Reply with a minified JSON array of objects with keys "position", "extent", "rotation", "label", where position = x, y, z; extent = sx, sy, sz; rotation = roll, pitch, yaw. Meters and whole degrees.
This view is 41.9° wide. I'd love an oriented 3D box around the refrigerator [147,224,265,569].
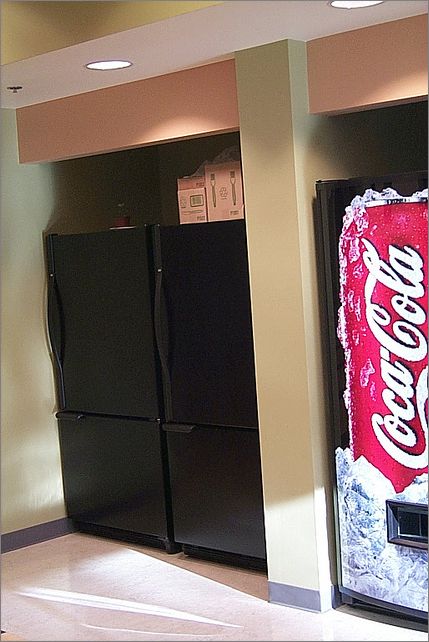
[{"position":[-0.056,0.321,2.781],"extent":[0.236,1.676,0.759],"rotation":[-2,-5,-38],"label":"refrigerator"}]
